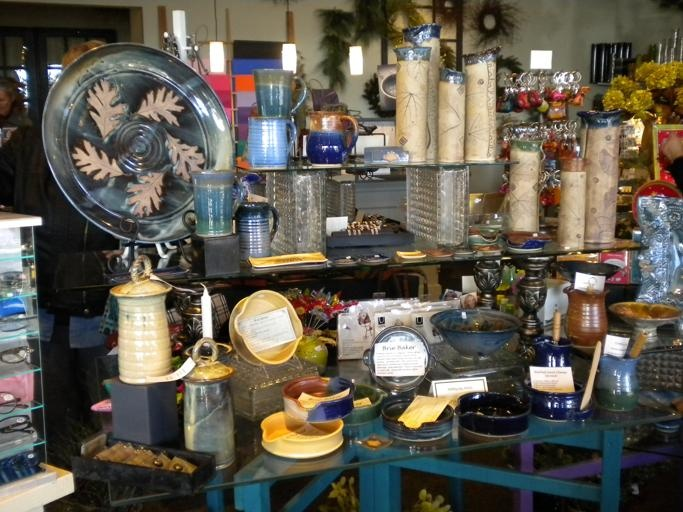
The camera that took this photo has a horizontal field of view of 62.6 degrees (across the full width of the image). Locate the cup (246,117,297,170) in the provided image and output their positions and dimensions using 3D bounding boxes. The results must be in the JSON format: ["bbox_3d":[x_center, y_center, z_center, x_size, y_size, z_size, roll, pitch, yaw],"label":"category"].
[{"bbox_3d":[-0.215,-0.347,1.686,0.186,0.147,0.133,2,10,1],"label":"cup"}]

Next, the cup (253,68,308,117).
[{"bbox_3d":[-0.193,-0.482,1.680,0.196,0.161,0.125,-4,10,-31],"label":"cup"}]

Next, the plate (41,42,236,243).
[{"bbox_3d":[-0.580,-0.325,1.636,0.513,0.569,0.089,-6,11,-28],"label":"plate"}]

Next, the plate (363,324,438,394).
[{"bbox_3d":[0.195,0.339,1.899,0.232,0.203,0.142,0,9,7],"label":"plate"}]

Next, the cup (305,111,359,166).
[{"bbox_3d":[-0.023,-0.372,1.768,0.155,0.163,0.087,-6,11,-31],"label":"cup"}]

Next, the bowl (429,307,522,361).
[{"bbox_3d":[0.465,0.260,1.957,0.309,0.100,0.310,-3,12,1],"label":"bowl"}]
